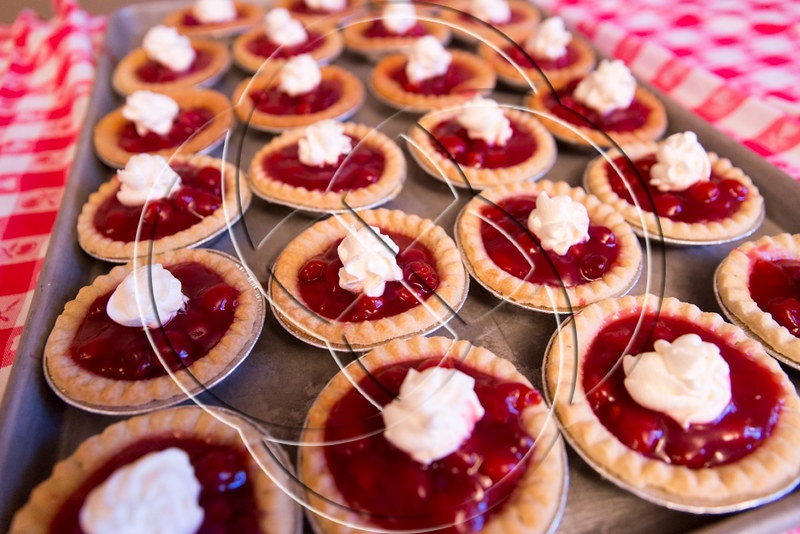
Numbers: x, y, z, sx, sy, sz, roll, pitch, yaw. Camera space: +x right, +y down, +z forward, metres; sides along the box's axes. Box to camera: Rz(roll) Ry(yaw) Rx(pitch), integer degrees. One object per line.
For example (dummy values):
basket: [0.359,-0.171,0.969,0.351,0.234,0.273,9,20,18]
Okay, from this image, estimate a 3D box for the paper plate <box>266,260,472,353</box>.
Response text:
paper plate: [-0.187,0.147,4.076,0.885,0.889,0.117,-7,99,-20]

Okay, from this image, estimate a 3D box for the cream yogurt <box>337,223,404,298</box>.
cream yogurt: [-0.154,-0.036,3.736,0.288,0.124,0.350,-1,95,10]

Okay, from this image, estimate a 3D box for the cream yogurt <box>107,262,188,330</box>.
cream yogurt: [-1.277,0.168,3.986,0.348,0.152,0.367,-7,62,30]
